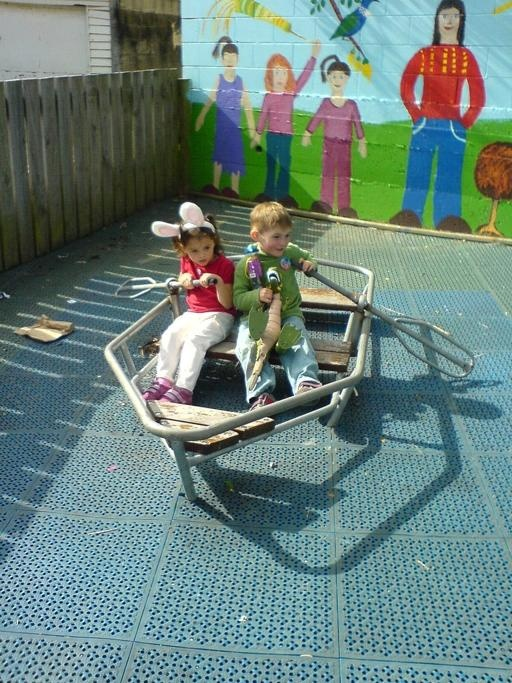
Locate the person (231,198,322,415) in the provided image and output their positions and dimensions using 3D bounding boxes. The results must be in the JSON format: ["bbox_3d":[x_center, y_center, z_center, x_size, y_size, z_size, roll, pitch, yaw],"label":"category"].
[{"bbox_3d":[0.116,-0.151,2.709,0.463,0.963,0.814,1,25,-2],"label":"person"}]

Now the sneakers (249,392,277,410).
[{"bbox_3d":[0.019,0.272,2.489,0.054,0.061,0.152,-13,1,22],"label":"sneakers"}]

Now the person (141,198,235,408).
[{"bbox_3d":[-0.357,-0.240,2.755,0.423,0.832,0.874,4,25,5],"label":"person"}]
